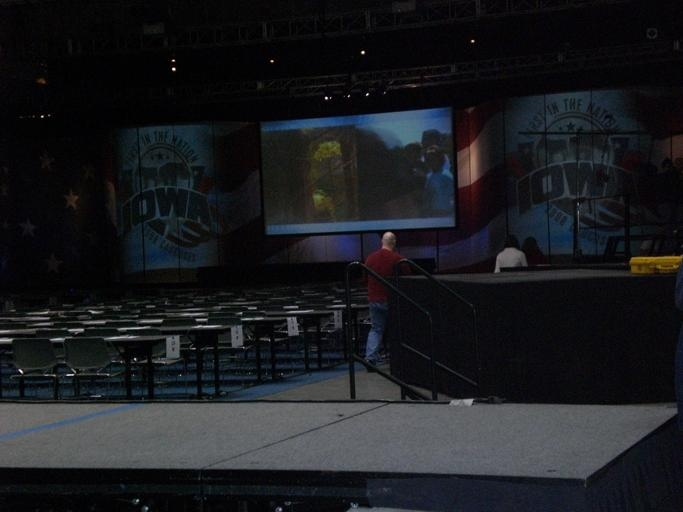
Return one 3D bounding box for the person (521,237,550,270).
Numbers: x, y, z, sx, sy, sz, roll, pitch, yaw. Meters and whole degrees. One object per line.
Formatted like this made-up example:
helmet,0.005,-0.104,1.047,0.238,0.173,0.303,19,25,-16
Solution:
person,4.787,-0.079,21.574,0.677,0.834,0.949,-2,-10,5
